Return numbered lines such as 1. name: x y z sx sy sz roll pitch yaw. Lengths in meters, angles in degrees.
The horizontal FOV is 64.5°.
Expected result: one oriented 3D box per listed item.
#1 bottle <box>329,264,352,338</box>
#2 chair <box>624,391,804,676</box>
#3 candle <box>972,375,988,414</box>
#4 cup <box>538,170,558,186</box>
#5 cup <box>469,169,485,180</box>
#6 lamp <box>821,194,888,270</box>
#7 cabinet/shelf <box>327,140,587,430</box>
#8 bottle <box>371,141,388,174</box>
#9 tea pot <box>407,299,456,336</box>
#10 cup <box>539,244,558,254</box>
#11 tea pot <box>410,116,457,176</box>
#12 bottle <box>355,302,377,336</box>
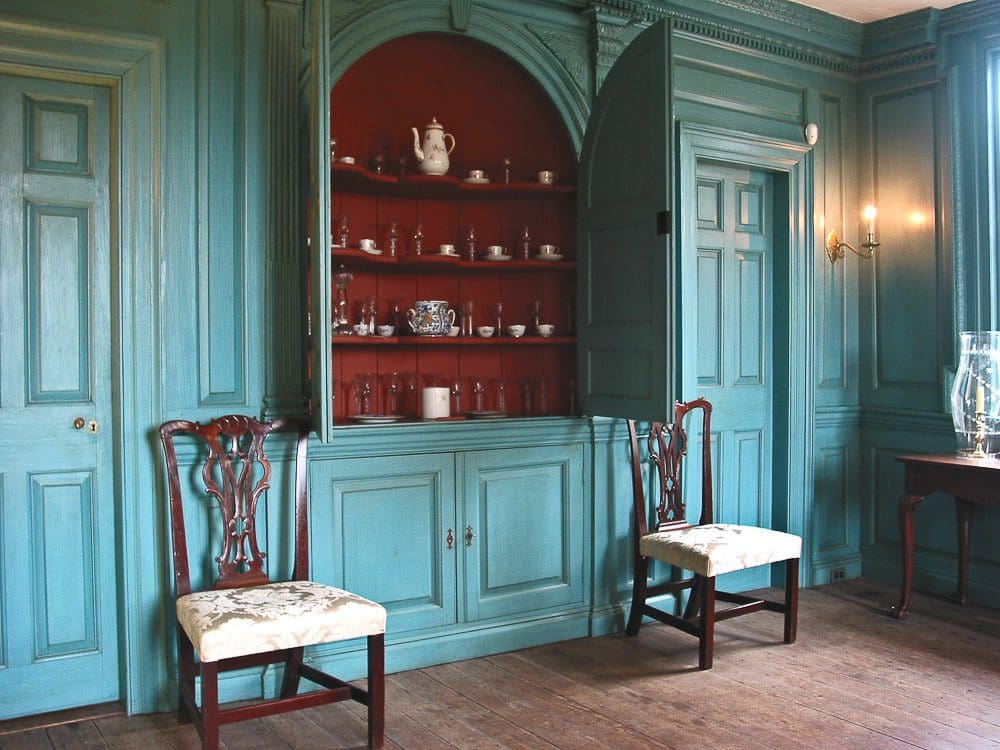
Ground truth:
1. bottle: -0.841 -0.416 4.279 0.106 0.354 0.183 -1 6 -10
2. chair: 1.118 0.812 4.366 0.809 1.309 0.789 -3 7 -29
3. candle: 2.748 0.113 4.559 0.065 0.223 0.043 4 7 32
4. cup: 0.278 -1.127 4.547 0.113 0.086 0.075 1 -2 -36
5. cup: -0.129 -1.120 4.467 0.069 0.050 0.052 3 -3 -44
6. lamp: 2.395 -0.955 5.372 0.412 0.527 0.343 -4 -5 43
7. cabinet/shelf: -0.266 -0.514 4.443 1.564 1.495 0.457 1 -4 -25
8. bottle: -0.668 -1.220 4.410 0.055 0.189 0.082 3 7 27
9. tea pot: -0.374 -0.322 4.382 0.294 0.205 0.184 3 6 29
10. cup: 0.273 -0.722 4.593 0.076 0.056 0.058 6 -8 -41
11. tea pot: -0.371 -1.279 4.424 0.240 0.368 0.352 0 6 0
12. bottle: -0.719 -0.319 4.285 0.101 0.190 0.309 -1 6 -6
